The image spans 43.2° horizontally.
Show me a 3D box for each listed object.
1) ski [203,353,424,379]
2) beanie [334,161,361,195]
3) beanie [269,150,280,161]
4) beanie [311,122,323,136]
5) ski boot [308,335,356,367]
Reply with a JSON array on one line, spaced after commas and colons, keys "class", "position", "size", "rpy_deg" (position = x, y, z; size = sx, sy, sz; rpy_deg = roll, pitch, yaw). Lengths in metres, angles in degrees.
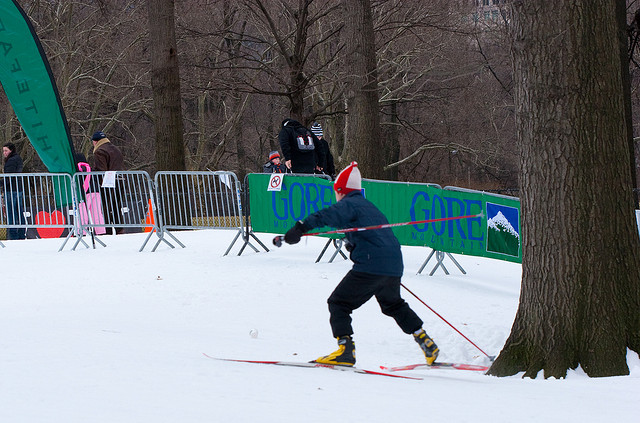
[{"class": "ski", "position": [-0.185, 1.911, 10.225], "size": [2.864, 0.303, 0.269], "rpy_deg": [3, -42, 2]}, {"class": "beanie", "position": [0.402, -0.436, 10.676], "size": [0.437, 0.438, 0.344], "rpy_deg": [-1, -3, 11]}, {"class": "beanie", "position": [-1.132, -1.410, 19.792], "size": [0.322, 0.319, 0.296], "rpy_deg": [-6, 0, 0]}, {"class": "beanie", "position": [-0.057, -1.754, 17.330], "size": [0.192, 0.208, 0.291], "rpy_deg": [-2, -6, -2]}, {"class": "ski boot", "position": [0.193, 1.846, 10.393], "size": [0.652, 0.448, 0.229], "rpy_deg": [-4, -37, 22]}]
